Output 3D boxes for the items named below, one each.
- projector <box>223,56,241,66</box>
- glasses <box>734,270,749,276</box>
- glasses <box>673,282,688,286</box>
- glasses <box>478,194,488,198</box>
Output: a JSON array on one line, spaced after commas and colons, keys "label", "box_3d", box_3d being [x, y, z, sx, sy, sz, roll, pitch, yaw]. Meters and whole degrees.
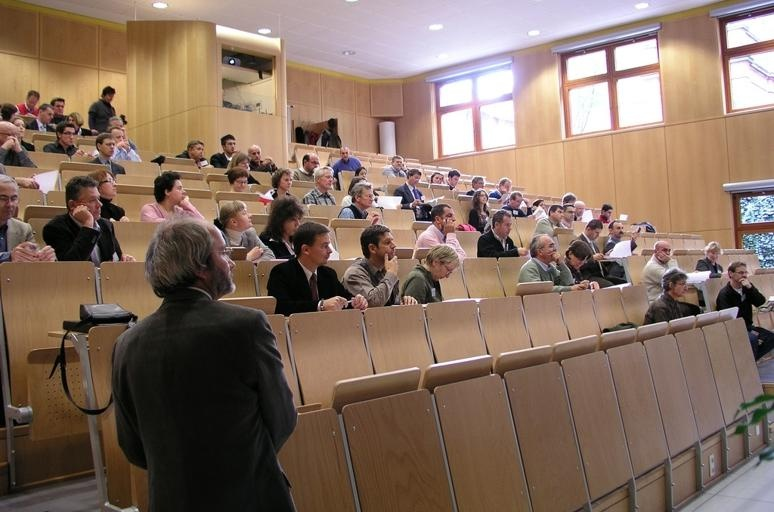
[{"label": "projector", "box_3d": [-2.930, -3.682, 10.252, 0.171, 0.175, 0.073, -2, 22, -40]}, {"label": "glasses", "box_3d": [4.423, 0.219, 6.785, 0.101, 0.034, 0.114, 4, -15, -12]}, {"label": "glasses", "box_3d": [3.024, 0.305, 5.624, 0.076, 0.024, 0.081, 0, -13, -15]}, {"label": "glasses", "box_3d": [1.388, -0.873, 7.923, 0.057, 0.033, 0.063, -4, -9, -9]}]
